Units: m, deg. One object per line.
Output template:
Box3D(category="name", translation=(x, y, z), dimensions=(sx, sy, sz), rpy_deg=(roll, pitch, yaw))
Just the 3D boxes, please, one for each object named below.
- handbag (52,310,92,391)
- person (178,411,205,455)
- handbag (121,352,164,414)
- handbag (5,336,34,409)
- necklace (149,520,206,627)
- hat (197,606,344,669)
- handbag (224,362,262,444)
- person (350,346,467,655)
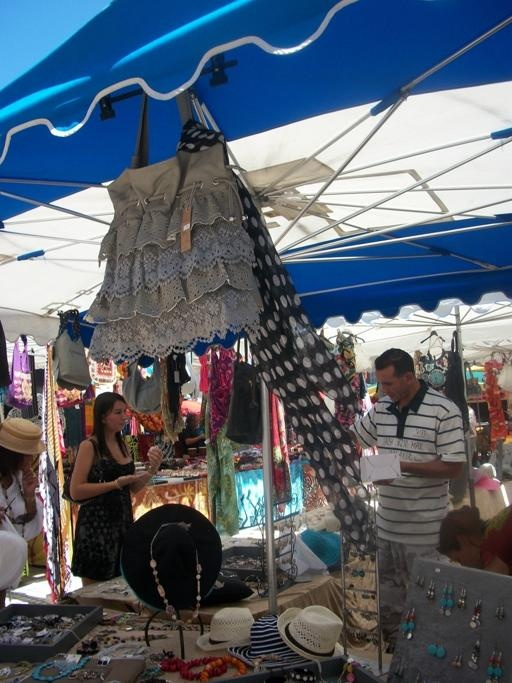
Box3D(category="handbag", translation=(-1.520, 0.074, 4.298), dimensions=(0.205, 0.647, 0.275), rpy_deg=(-7, -6, 32))
Box3D(category="person", translation=(-0.923, 1.329, 7.464), dimensions=(0.348, 0.501, 0.900), rpy_deg=(-3, -5, -5))
Box3D(category="handbag", translation=(-0.976, 0.398, 4.633), dimensions=(0.410, 0.512, 0.315), rpy_deg=(7, -11, -32))
Box3D(category="handbag", translation=(-2.976, 0.427, 6.573), dimensions=(0.265, 0.781, 0.447), rpy_deg=(-1, -6, -20))
Box3D(category="necklace", translation=(-0.295, 0.871, 1.945), dimensions=(0.208, 0.374, 0.096), rpy_deg=(-8, -13, -13))
Box3D(category="hat", translation=(0.110, 0.979, 1.779), dimensions=(0.311, 0.086, 0.257), rpy_deg=(-13, 3, -6))
Box3D(category="handbag", translation=(-0.088, 0.523, 4.519), dimensions=(0.344, 0.666, 0.270), rpy_deg=(9, -8, -32))
Box3D(category="person", translation=(0.842, 0.673, 2.878), dimensions=(0.577, 1.269, 0.924), rpy_deg=(-6, -6, 27))
